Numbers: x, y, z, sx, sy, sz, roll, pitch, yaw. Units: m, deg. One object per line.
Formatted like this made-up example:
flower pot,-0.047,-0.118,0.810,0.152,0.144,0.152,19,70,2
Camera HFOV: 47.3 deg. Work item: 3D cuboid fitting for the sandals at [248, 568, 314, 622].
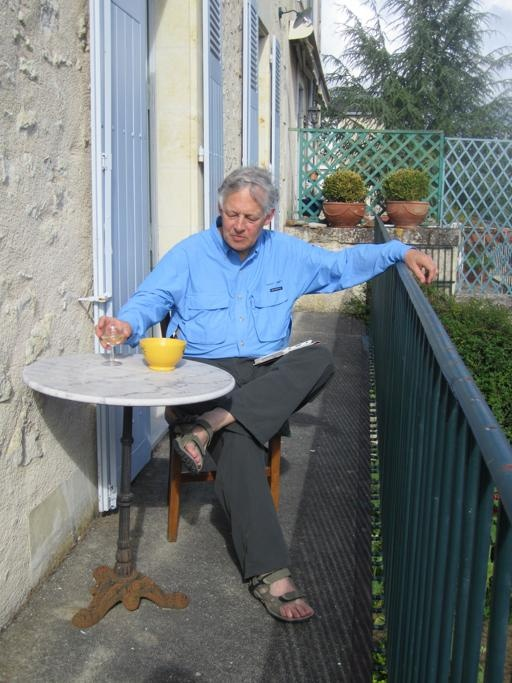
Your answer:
sandals,0.085,0.895,2.095,0.104,0.104,0.238,-3,2,-30

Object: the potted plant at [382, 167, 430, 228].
potted plant,2.379,-2.272,9.405,0.873,0.944,0.886,1,2,24

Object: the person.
person,-0.008,0.141,2.517,0.988,1.723,1.351,12,14,29

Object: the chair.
chair,-0.179,0.538,2.864,0.493,0.865,0.475,0,12,-3

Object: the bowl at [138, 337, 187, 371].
bowl,-0.323,0.033,1.991,0.124,0.077,0.121,5,4,0

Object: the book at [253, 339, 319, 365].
book,0.123,0.051,2.530,0.347,0.033,0.199,-13,7,-1

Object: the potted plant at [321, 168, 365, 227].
potted plant,1.490,-2.393,9.782,0.819,0.908,0.800,3,16,8
